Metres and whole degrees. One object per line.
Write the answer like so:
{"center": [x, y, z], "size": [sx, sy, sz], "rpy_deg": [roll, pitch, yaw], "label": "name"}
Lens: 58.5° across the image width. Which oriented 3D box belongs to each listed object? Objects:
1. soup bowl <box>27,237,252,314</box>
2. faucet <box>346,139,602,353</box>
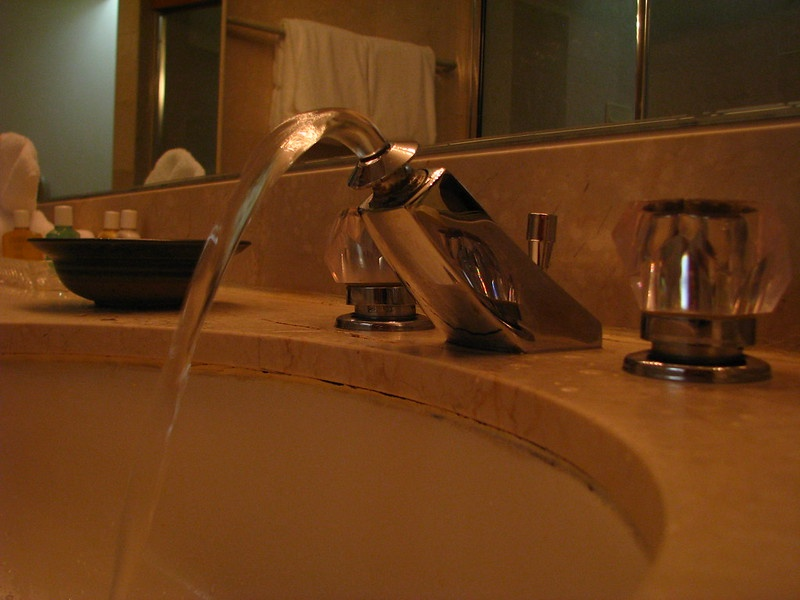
{"center": [-0.386, -0.035, 0.988], "size": [0.244, 0.105, 0.106], "rpy_deg": [4, 7, 12], "label": "soup bowl"}
{"center": [0.088, -0.036, 0.716], "size": [0.263, 0.178, 0.083], "rpy_deg": [-2, 8, -34], "label": "faucet"}
